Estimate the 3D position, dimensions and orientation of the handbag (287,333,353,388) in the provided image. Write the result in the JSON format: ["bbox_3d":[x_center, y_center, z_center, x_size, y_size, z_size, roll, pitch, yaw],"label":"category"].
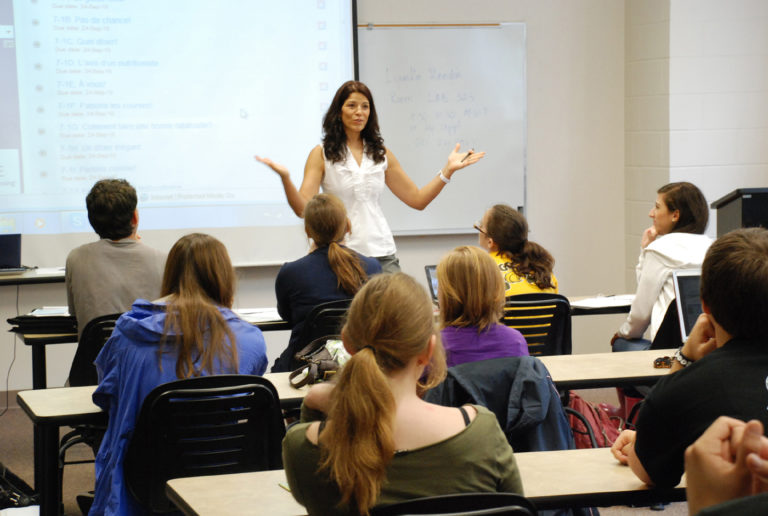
[{"bbox_3d":[-0.248,0.396,2.601,0.277,0.143,0.209,-22,15,2],"label":"handbag"}]

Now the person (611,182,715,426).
[{"bbox_3d":[1.637,0.341,3.961,0.577,1.477,0.743,-3,4,-41],"label":"person"}]

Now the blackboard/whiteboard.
[{"bbox_3d":[0.412,-1.055,5.049,1.532,2.054,0.154,-2,7,-4],"label":"blackboard/whiteboard"}]

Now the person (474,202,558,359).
[{"bbox_3d":[0.629,0.057,3.992,0.586,0.988,0.607,2,45,-1],"label":"person"}]
